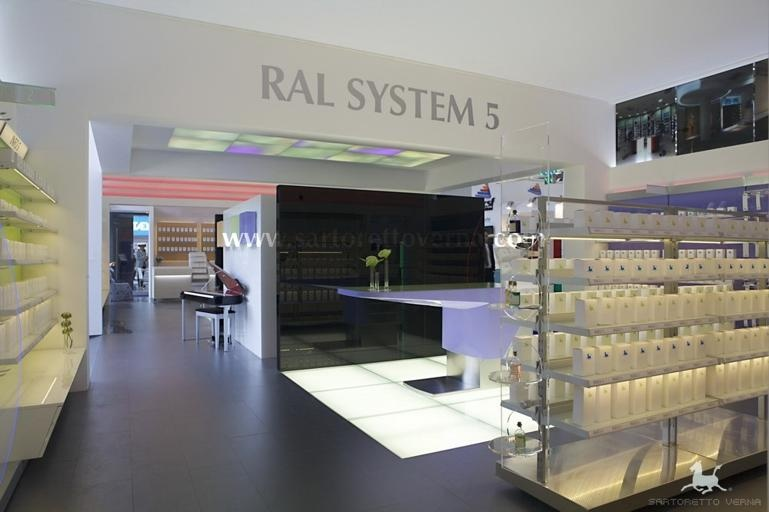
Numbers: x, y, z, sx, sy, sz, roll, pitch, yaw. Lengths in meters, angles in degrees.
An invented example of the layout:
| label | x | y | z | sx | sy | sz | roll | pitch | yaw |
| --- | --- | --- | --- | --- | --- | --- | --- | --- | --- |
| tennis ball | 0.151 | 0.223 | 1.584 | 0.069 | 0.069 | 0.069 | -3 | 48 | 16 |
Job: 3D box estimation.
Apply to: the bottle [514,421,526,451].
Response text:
| label | x | y | z | sx | sy | sz | roll | pitch | yaw |
| --- | --- | --- | --- | --- | --- | --- | --- | --- | --- |
| bottle | 1.308 | 1.729 | 5.081 | 0.105 | 0.245 | 0.188 | -1 | 2 | 16 |

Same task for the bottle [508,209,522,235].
| label | x | y | z | sx | sy | sz | roll | pitch | yaw |
| --- | --- | --- | --- | --- | --- | --- | --- | --- | --- |
| bottle | 1.230 | -0.337 | 4.967 | 0.114 | 0.223 | 0.060 | 0 | 2 | 26 |

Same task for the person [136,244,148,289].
| label | x | y | z | sx | sy | sz | roll | pitch | yaw |
| --- | --- | --- | --- | --- | --- | --- | --- | --- | --- |
| person | -7.994 | 0.320 | 17.327 | 0.337 | 1.426 | 0.604 | -2 | 2 | -26 |

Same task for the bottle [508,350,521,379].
| label | x | y | z | sx | sy | sz | roll | pitch | yaw |
| --- | --- | --- | --- | --- | --- | --- | --- | --- | --- |
| bottle | 1.238 | 1.031 | 4.995 | 0.118 | 0.248 | 0.161 | 0 | 2 | 32 |

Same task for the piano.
| label | x | y | z | sx | sy | sz | roll | pitch | yaw |
| --- | --- | --- | --- | --- | --- | --- | --- | --- | --- |
| piano | -3.126 | 0.914 | 9.937 | 1.165 | 1.404 | 0.793 | 3 | -2 | 41 |

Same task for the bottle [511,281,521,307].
| label | x | y | z | sx | sy | sz | roll | pitch | yaw |
| --- | --- | --- | --- | --- | --- | --- | --- | --- | --- |
| bottle | 1.234 | 0.354 | 4.979 | 0.089 | 0.237 | 0.064 | -2 | 2 | -18 |
